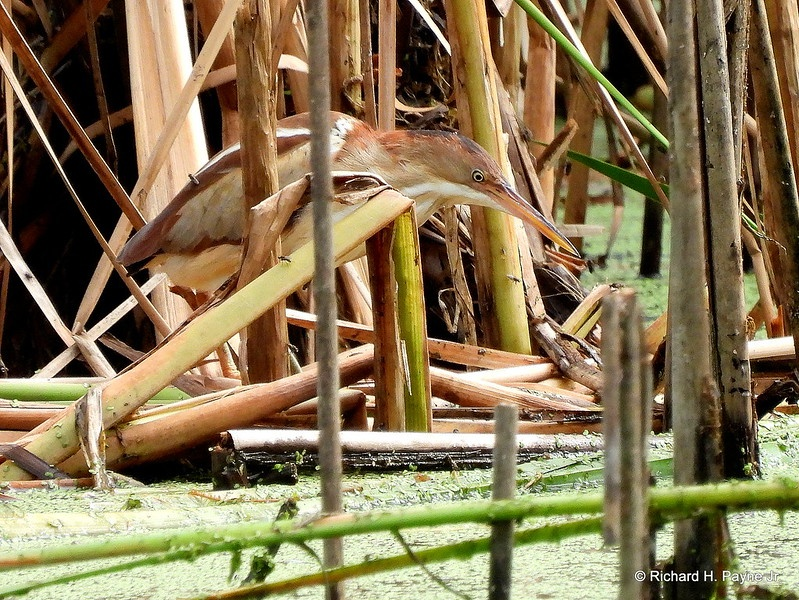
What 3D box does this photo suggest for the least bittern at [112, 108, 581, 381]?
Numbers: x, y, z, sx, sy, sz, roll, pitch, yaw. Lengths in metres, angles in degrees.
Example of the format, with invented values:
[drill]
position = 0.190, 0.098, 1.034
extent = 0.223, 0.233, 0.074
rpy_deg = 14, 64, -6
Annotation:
[least bittern]
position = 0.041, -0.163, 2.240
extent = 1.193, 0.455, 0.338
rpy_deg = 2, -1, -5
